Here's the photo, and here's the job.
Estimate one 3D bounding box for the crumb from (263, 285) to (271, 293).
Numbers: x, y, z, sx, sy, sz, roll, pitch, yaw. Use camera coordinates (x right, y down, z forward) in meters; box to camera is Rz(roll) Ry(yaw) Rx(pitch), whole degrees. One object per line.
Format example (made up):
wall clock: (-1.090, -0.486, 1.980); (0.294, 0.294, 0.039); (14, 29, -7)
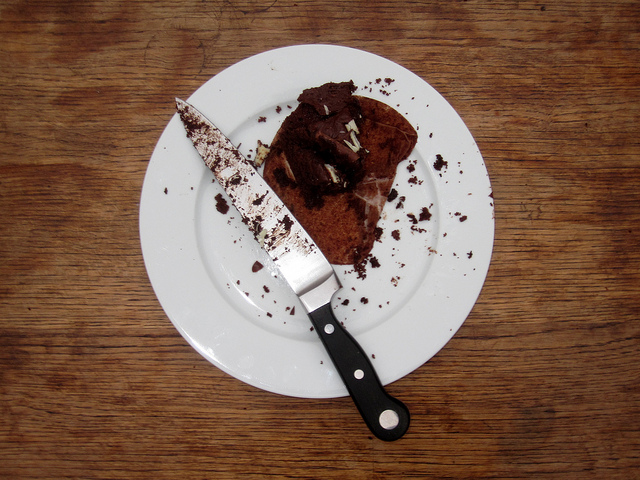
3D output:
crumb: (-0.305, 0.279, 4.069); (0.025, 0.009, 0.040); (-34, 91, 4)

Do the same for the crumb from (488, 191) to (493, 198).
crumb: (0.957, -0.255, 4.024); (0.048, 0.015, 0.038); (6, 84, -28)

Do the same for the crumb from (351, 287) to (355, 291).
crumb: (0.185, 0.278, 4.056); (0.025, 0.006, 0.018); (2, 86, 3)

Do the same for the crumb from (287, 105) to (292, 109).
crumb: (-0.174, -0.761, 4.070); (0.023, 0.006, 0.019); (-1, 98, 14)

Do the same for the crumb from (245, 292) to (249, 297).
crumb: (-0.418, 0.311, 4.069); (0.033, 0.007, 0.028); (3, 92, 8)

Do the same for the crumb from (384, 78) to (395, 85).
crumb: (0.387, -0.896, 4.030); (0.050, 0.009, 0.033); (27, 84, 1)

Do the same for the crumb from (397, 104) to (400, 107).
crumb: (0.440, -0.761, 4.039); (0.014, 0.004, 0.011); (4, 96, 9)

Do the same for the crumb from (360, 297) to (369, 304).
crumb: (0.250, 0.344, 4.052); (0.044, 0.009, 0.037); (4, 88, -1)

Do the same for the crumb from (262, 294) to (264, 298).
crumb: (-0.326, 0.320, 4.069); (0.023, 0.005, 0.019); (12, 85, 1)

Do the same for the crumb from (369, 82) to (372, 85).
crumb: (0.284, -0.886, 4.038); (0.015, 0.003, 0.012); (2, 96, -26)

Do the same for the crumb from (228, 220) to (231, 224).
crumb: (-0.517, -0.104, 4.070); (0.025, 0.006, 0.020); (0, 87, 4)

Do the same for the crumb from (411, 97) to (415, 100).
crumb: (0.522, -0.799, 4.028); (0.014, 0.003, 0.012); (-18, 87, -6)

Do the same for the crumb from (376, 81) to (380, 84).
crumb: (0.326, -0.892, 4.036); (0.020, 0.005, 0.016); (1, 92, 7)

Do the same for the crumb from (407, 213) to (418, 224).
crumb: (0.528, -0.123, 4.072); (0.042, 0.019, 0.061); (-44, 57, 12)

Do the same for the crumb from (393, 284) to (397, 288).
crumb: (0.423, 0.258, 4.058); (0.026, 0.006, 0.021); (-3, 88, 26)

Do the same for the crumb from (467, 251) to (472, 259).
crumb: (0.842, 0.082, 4.030); (0.036, 0.011, 0.040); (7, 84, 16)

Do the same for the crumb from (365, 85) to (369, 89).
crumb: (0.260, -0.867, 4.040); (0.019, 0.005, 0.005); (50, 58, -6)

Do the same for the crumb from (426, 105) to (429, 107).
crumb: (0.603, -0.756, 4.021); (0.013, 0.003, 0.011); (22, 98, -6)

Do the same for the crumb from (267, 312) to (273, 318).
crumb: (-0.287, 0.426, 4.063); (0.035, 0.009, 0.030); (2, 87, -9)

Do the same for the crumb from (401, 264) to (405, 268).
crumb: (0.469, 0.146, 4.064); (0.023, 0.006, 0.019); (26, 95, -18)

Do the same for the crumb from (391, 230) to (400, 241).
crumb: (0.429, -0.025, 4.067); (0.063, 0.014, 0.054); (14, 91, 2)

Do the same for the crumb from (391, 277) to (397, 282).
crumb: (0.418, 0.225, 4.060); (0.025, 0.005, 0.021); (5, 71, 6)

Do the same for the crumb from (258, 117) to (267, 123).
crumb: (-0.332, -0.689, 4.080); (0.033, 0.008, 0.028); (5, 96, -4)

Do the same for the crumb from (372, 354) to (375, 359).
crumb: (0.297, 0.651, 4.000); (0.018, 0.006, 0.021); (-2, 80, 6)

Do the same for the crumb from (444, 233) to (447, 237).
crumb: (0.707, -0.029, 4.046); (0.022, 0.007, 0.019); (-1, 78, 22)
